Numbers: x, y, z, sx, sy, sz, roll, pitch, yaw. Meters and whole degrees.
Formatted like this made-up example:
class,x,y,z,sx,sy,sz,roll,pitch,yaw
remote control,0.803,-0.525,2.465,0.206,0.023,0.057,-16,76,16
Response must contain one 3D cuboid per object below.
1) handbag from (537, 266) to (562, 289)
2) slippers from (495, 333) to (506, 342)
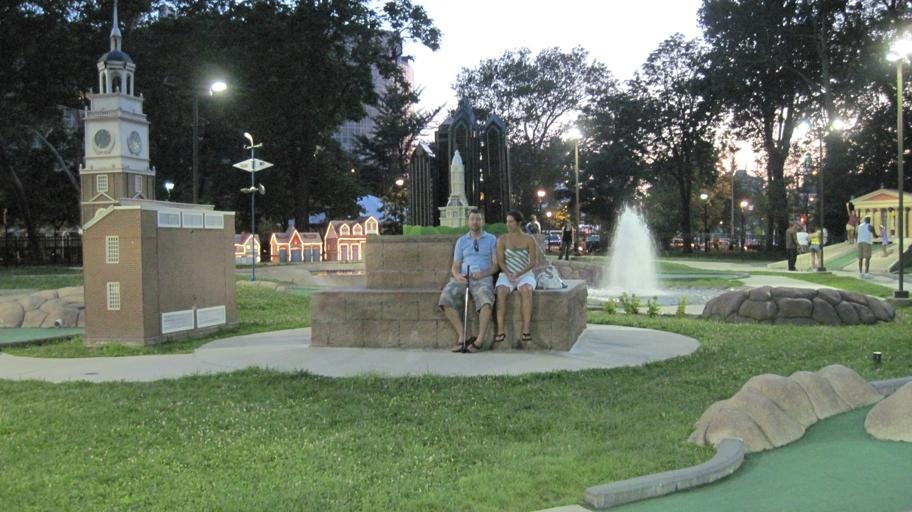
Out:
class,x,y,z,sx,sy,sz,roll,pitch,yaw
handbag,3.874,0.904,37.474,1.062,0.950,0.894,0,0,9
slippers,1.775,3.325,36.789,0.366,0.208,0.651,0,1,11
